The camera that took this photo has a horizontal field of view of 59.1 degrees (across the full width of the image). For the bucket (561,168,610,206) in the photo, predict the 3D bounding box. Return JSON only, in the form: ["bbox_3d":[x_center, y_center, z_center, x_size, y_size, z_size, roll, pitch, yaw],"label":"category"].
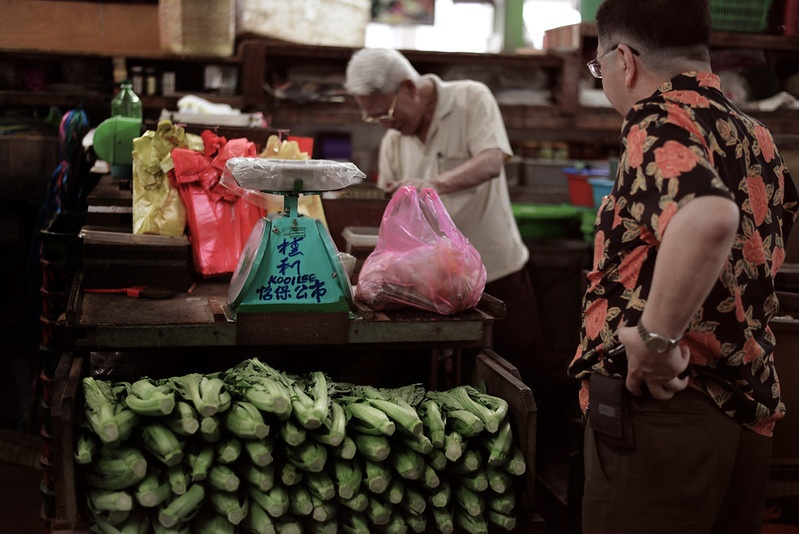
[{"bbox_3d":[1.342,-0.606,5.161,0.308,0.251,0.258,2,14,13],"label":"bucket"}]

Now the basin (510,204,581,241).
[{"bbox_3d":[1.127,-0.351,5.423,0.421,0.154,0.304,4,7,40],"label":"basin"}]

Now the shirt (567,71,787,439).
[{"bbox_3d":[0.894,-0.035,2.049,0.634,1.020,0.367,0,12,-16],"label":"shirt"}]

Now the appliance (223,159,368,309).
[{"bbox_3d":[-0.290,-0.093,2.601,0.664,0.667,0.440,1,-2,-10],"label":"appliance"}]

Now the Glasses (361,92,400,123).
[{"bbox_3d":[-0.060,-0.775,3.475,0.126,0.133,0.039,5,15,21],"label":"Glasses"}]

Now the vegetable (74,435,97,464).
[{"bbox_3d":[-0.976,0.562,2.185,0.052,0.038,0.091,0,54,-9],"label":"vegetable"}]

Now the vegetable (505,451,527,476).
[{"bbox_3d":[0.387,0.651,2.338,0.033,0.047,0.093,-48,6,-30],"label":"vegetable"}]

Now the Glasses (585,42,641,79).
[{"bbox_3d":[0.617,-0.633,2.121,0.098,0.029,0.103,-17,-9,-8],"label":"Glasses"}]
